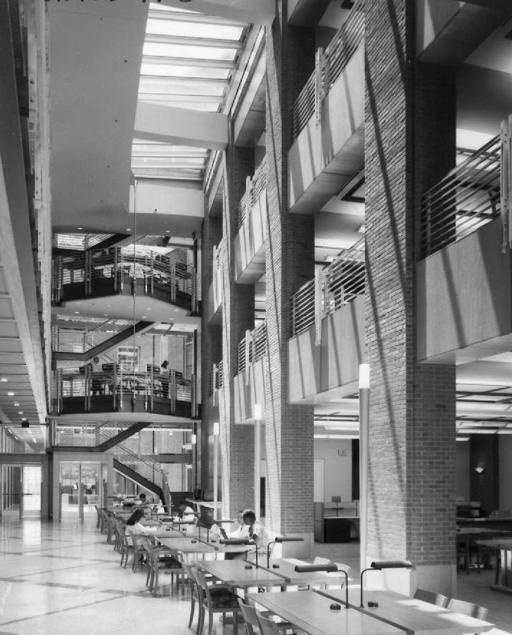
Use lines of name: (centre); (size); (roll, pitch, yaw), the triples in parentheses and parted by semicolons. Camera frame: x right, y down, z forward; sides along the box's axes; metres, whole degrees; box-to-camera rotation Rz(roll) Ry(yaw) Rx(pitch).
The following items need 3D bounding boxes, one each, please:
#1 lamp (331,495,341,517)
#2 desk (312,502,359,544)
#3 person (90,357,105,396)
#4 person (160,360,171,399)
lamp: (2.061, 4.781, 23.038); (0.240, 0.595, 0.266); (-1, -2, -1)
desk: (1.932, 4.926, 21.358); (0.765, 0.644, 0.893); (0, -4, -3)
person: (-4.757, 1.877, 27.081); (0.372, 1.058, 0.893); (2, -12, -11)
person: (-2.815, 1.995, 27.833); (0.291, 1.082, 0.979); (1, -12, -7)
